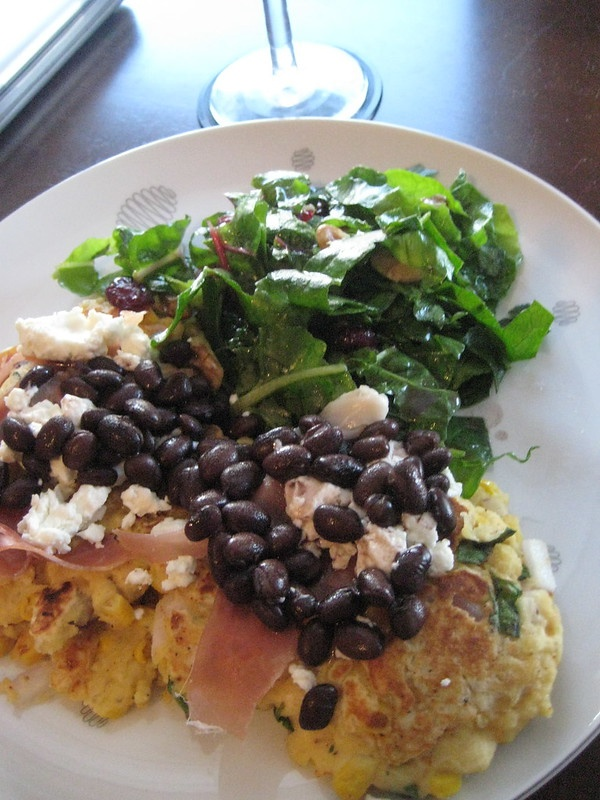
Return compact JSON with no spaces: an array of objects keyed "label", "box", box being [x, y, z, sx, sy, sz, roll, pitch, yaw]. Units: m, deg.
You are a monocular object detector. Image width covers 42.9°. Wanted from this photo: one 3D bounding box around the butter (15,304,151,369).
[{"label":"butter","box":[-0.870,-0.260,3.121,0.406,0.136,0.312,10,25,10]}]
